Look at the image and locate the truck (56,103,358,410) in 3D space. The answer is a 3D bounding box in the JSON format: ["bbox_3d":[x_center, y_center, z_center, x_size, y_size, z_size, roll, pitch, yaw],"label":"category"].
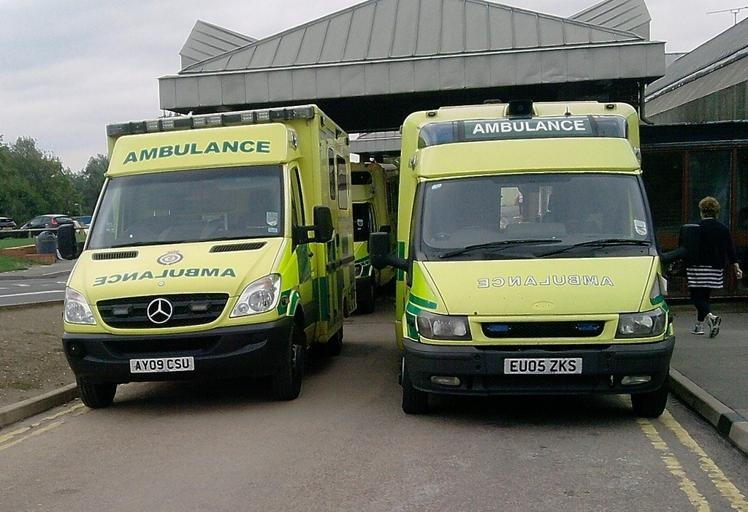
[{"bbox_3d":[-2.022,-0.085,10.746,2.540,2.776,5.158,-1,-1,4],"label":"truck"}]

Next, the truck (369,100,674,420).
[{"bbox_3d":[2.101,-0.102,10.767,3.515,4.084,7.421,-1,0,7],"label":"truck"}]

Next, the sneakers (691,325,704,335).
[{"bbox_3d":[5.378,1.201,11.867,0.191,0.182,0.328,1,7,24],"label":"sneakers"}]
